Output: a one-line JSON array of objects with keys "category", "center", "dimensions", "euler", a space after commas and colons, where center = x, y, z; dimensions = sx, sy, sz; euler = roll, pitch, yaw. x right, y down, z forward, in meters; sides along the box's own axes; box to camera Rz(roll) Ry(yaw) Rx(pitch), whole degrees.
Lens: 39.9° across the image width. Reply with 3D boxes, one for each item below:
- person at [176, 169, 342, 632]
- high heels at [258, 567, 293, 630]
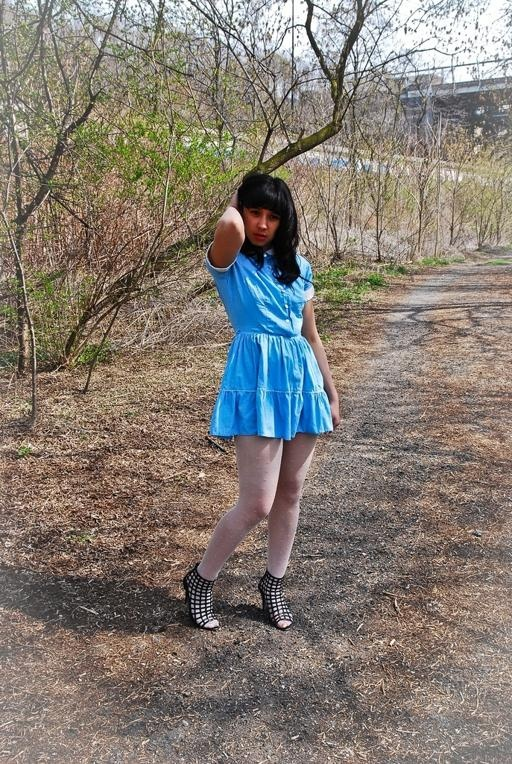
[{"category": "person", "center": [0.047, 0.157, 2.550], "dimensions": [0.566, 1.726, 0.420], "euler": [0, 8, -22]}, {"category": "high heels", "center": [0.077, 0.882, 2.853], "dimensions": [0.097, 0.127, 0.285], "euler": [-5, 11, -20]}]
